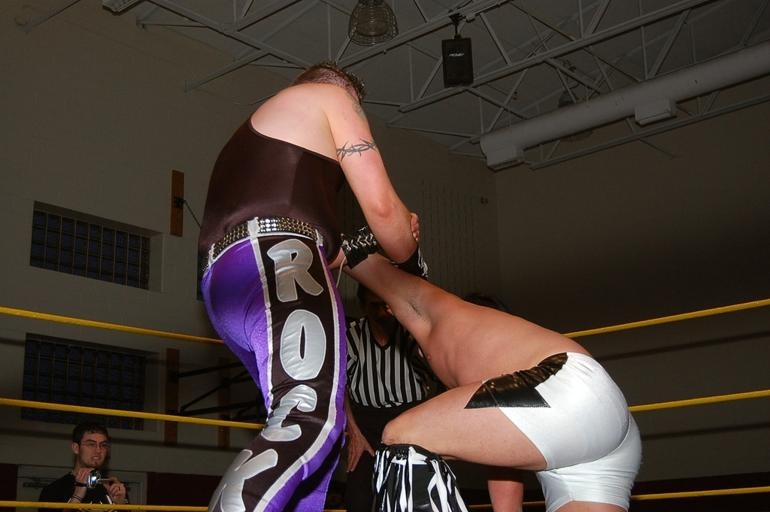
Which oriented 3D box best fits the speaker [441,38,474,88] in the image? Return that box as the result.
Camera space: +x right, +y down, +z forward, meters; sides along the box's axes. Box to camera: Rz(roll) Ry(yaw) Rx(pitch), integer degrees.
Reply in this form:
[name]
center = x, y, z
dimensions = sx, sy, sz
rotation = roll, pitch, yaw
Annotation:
[speaker]
center = 0.885, -2.517, 8.354
dimensions = 0.362, 0.916, 0.196
rotation = -4, -7, 11
